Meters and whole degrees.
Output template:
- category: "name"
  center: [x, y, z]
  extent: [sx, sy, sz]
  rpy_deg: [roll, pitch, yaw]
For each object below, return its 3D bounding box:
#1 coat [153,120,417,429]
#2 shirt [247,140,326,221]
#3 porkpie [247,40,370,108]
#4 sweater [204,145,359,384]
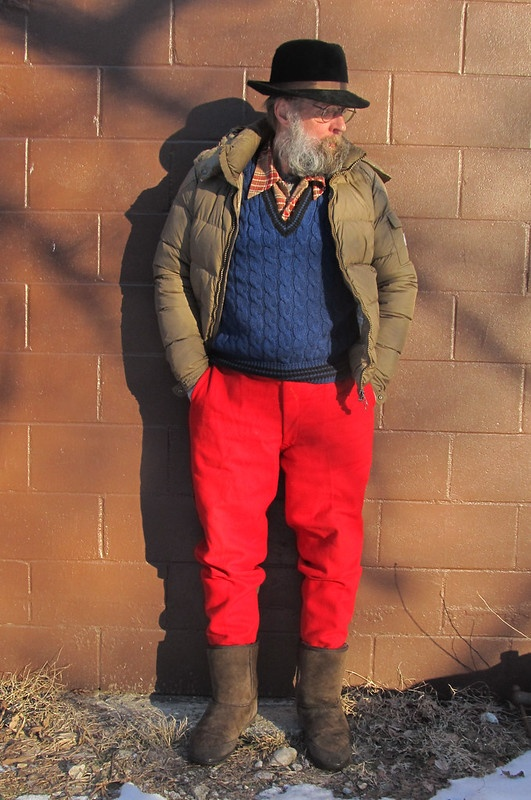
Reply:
- category: "coat"
  center: [0.057, -0.393, 2.857]
  extent: [1.064, 0.878, 0.492]
  rpy_deg: [3, 11, -2]
- category: "shirt"
  center: [0.041, -0.624, 2.792]
  extent: [0.205, 0.203, 0.087]
  rpy_deg: [13, -8, -7]
- category: "porkpie"
  center: [0.133, -0.984, 2.865]
  extent: [0.374, 0.178, 0.381]
  rpy_deg: [-16, 28, -28]
- category: "sweater"
  center: [0.068, -0.397, 2.840]
  extent: [0.452, 0.688, 0.186]
  rpy_deg: [3, 6, -3]
